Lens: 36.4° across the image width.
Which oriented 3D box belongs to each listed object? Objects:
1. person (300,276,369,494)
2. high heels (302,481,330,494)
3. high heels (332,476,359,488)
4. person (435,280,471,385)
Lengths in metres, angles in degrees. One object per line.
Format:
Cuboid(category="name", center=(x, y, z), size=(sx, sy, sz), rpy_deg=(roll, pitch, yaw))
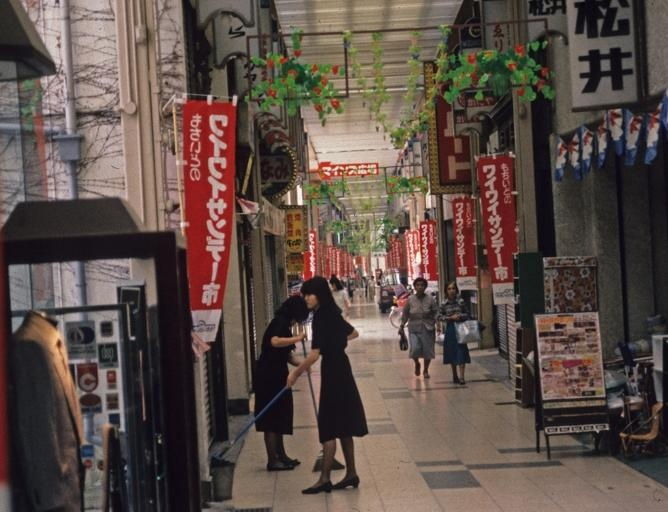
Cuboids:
Cuboid(category="person", center=(-0.022, 1.366, 10.963), size=(0.662, 2.285, 0.378), rpy_deg=(-3, 2, -1))
Cuboid(category="high heels", center=(-0.218, 2.478, 10.892), size=(0.315, 0.131, 0.119), rpy_deg=(3, -3, -6))
Cuboid(category="high heels", center=(0.129, 2.450, 10.999), size=(0.330, 0.148, 0.115), rpy_deg=(3, 1, -8))
Cuboid(category="person", center=(1.989, 1.269, 16.909), size=(0.485, 1.650, 0.955), rpy_deg=(-3, 2, 5))
